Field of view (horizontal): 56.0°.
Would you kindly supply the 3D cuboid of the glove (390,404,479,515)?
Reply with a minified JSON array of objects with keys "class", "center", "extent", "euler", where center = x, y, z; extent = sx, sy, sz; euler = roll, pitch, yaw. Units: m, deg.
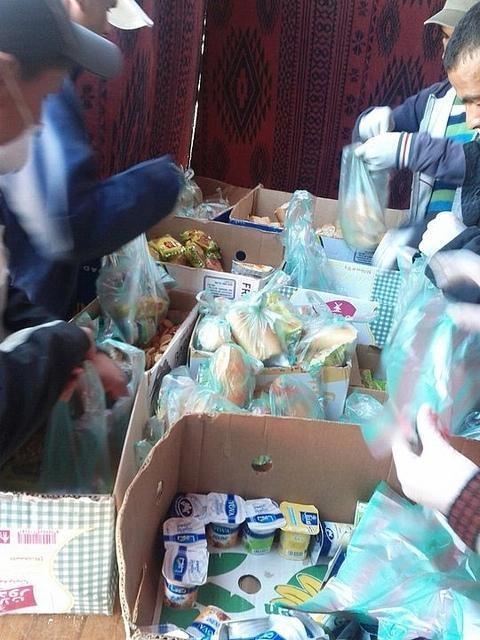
[{"class":"glove","center":[0.222,0.167,0.562],"extent":[0.079,0.051,0.131],"euler":[-40,13,-2]}]

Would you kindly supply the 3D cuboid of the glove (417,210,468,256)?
[{"class":"glove","center":[0.423,-0.163,0.932],"extent":[0.073,0.096,0.106],"euler":[11,28,12]}]
